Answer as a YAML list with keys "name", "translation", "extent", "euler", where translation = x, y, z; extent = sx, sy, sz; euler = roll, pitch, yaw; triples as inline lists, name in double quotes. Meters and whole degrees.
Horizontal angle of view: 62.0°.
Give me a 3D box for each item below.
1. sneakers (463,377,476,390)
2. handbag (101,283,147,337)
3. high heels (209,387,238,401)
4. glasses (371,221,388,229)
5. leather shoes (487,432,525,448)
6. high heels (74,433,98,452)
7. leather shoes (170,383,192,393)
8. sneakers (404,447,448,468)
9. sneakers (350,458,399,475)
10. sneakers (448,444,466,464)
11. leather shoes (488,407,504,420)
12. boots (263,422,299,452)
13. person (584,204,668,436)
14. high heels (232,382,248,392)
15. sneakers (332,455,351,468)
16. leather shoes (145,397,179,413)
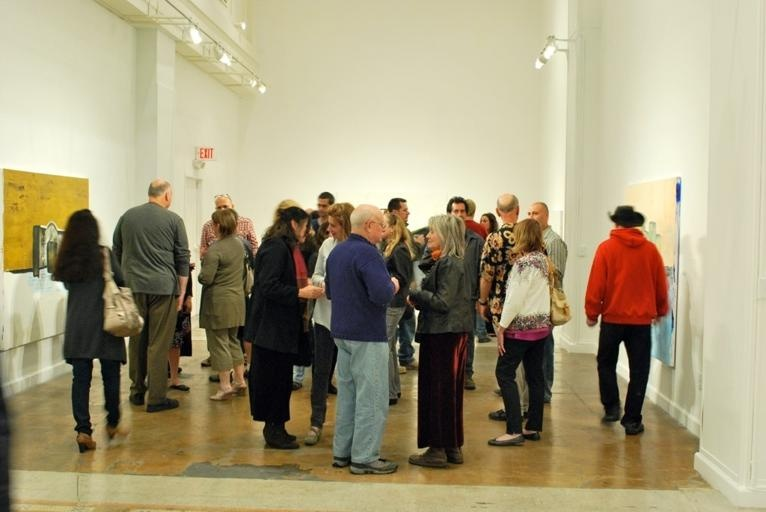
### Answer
- name: "sneakers"
  translation: [1.049, 1.537, 7.700]
  extent: [0.097, 0.124, 0.274]
  euler: [0, -12, 1]
- name: "handbag"
  translation: [-2.406, 0.490, 5.899]
  extent: [0.262, 0.538, 0.427]
  euler: [-10, -19, 12]
- name: "high heels"
  translation: [-1.795, 1.557, 7.227]
  extent: [0.244, 0.112, 0.114]
  euler: [5, -7, -12]
- name: "glasses"
  translation: [-0.013, -0.279, 5.666]
  extent: [0.071, 0.058, 0.258]
  euler: [3, 9, 14]
- name: "leather shoes"
  translation: [1.197, 1.766, 6.191]
  extent: [0.353, 0.148, 0.130]
  euler: [2, -6, 2]
- name: "high heels"
  translation: [-2.732, 1.714, 5.861]
  extent: [0.089, 0.134, 0.270]
  euler: [3, 5, 1]
- name: "leather shoes"
  translation: [-2.381, 1.544, 7.517]
  extent: [0.248, 0.072, 0.094]
  euler: [-2, -3, 24]
- name: "sneakers"
  translation: [0.412, 1.803, 5.836]
  extent: [0.357, 0.253, 0.155]
  euler: [4, -6, 20]
- name: "sneakers"
  translation: [-0.059, 1.829, 5.660]
  extent: [0.405, 0.195, 0.158]
  euler: [-1, -3, -5]
- name: "sneakers"
  translation: [0.662, 1.803, 5.831]
  extent: [0.084, 0.163, 0.234]
  euler: [0, 4, -5]
- name: "leather shoes"
  translation: [1.209, 1.685, 6.773]
  extent: [0.149, 0.063, 0.076]
  euler: [2, -1, 8]
- name: "boots"
  translation: [-0.889, 1.688, 5.991]
  extent: [0.416, 0.298, 0.169]
  euler: [1, -4, 3]
- name: "person"
  translation: [2.453, 0.738, 6.464]
  extent: [0.779, 2.017, 0.510]
  euler: [3, 8, 18]
- name: "high heels"
  translation: [-1.648, 1.523, 7.449]
  extent: [0.161, 0.127, 0.083]
  euler: [13, 4, 33]
- name: "sneakers"
  translation: [-0.359, 1.809, 5.708]
  extent: [0.072, 0.093, 0.202]
  euler: [5, 6, 45]
- name: "leather shoes"
  translation: [-2.362, 1.605, 6.920]
  extent: [0.371, 0.153, 0.134]
  euler: [-3, 4, -33]
